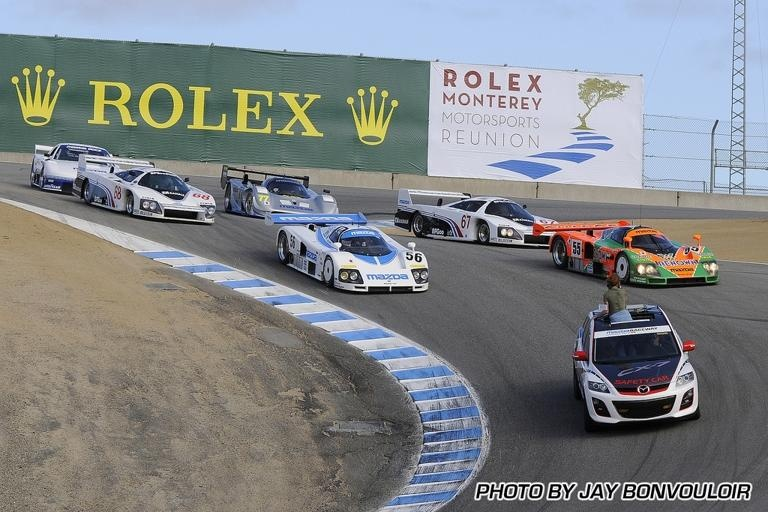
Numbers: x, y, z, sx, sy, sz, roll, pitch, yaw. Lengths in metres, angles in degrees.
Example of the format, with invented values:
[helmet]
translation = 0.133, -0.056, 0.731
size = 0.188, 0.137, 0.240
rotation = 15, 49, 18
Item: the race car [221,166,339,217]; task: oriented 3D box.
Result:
[race car]
translation = -4.371, -2.348, 30.475
size = 2.675, 1.349, 4.078
rotation = 5, 4, -26
